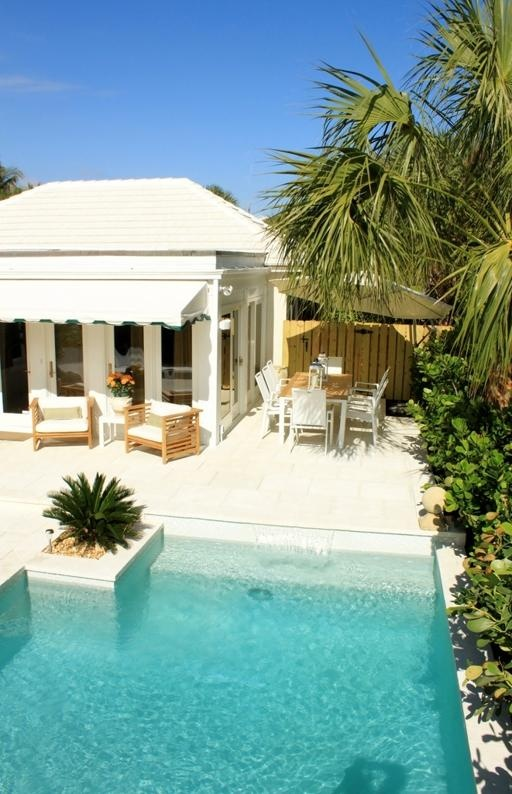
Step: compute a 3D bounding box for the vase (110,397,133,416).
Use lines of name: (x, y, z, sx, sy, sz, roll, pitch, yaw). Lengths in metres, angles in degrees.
vase: (-3.581, 0.198, 13.621, 0.467, 0.463, 0.519, 4, 5, 34)

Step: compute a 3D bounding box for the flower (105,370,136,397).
flower: (-3.608, -0.339, 13.684, 0.747, 0.796, 0.694, -2, 10, -14)

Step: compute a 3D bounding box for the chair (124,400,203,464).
chair: (-2.400, 0.851, 13.079, 1.839, 1.383, 1.271, 6, 12, 33)

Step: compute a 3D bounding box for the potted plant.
potted plant: (-2.527, 1.973, 8.306, 1.793, 1.373, 2.149, 0, 10, 6)

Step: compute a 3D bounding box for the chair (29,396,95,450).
chair: (-5.125, 0.544, 13.771, 1.594, 1.420, 1.418, -1, 8, -11)
